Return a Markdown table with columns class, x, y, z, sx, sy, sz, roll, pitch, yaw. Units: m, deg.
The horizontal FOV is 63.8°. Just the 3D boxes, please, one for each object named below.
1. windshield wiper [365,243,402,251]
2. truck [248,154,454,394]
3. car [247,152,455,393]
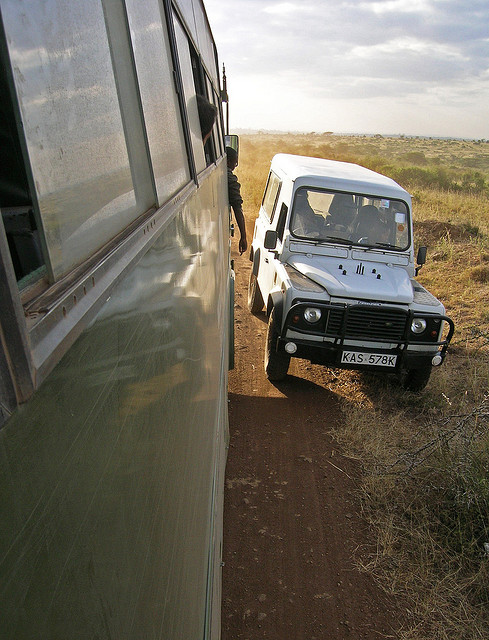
| class | x | y | z | sx | sy | sz | roll | pitch | yaw |
| --- | --- | --- | --- | --- | --- | --- | --- | --- | --- |
| windshield wiper | 1.784 | -0.975 | 5.161 | 0.479 | 0.072 | 0.054 | -5 | 26 | -12 |
| truck | 1.367 | -0.906 | 6.206 | 1.876 | 2.823 | 4.531 | 6 | 17 | -3 |
| car | 1.285 | -0.948 | 6.172 | 1.904 | 2.810 | 4.507 | 5 | 17 | -6 |
